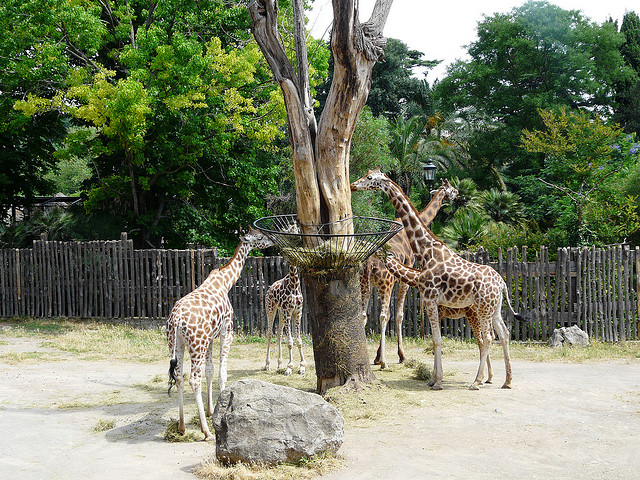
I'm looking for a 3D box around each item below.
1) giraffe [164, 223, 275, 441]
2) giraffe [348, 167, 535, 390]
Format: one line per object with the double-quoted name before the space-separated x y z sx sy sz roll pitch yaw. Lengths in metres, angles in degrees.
"giraffe" -2.162 1.773 14.844 0.757 4.230 2.130 -5 -8 27
"giraffe" 2.986 0.962 17.172 2.787 4.809 3.069 -3 -7 15
